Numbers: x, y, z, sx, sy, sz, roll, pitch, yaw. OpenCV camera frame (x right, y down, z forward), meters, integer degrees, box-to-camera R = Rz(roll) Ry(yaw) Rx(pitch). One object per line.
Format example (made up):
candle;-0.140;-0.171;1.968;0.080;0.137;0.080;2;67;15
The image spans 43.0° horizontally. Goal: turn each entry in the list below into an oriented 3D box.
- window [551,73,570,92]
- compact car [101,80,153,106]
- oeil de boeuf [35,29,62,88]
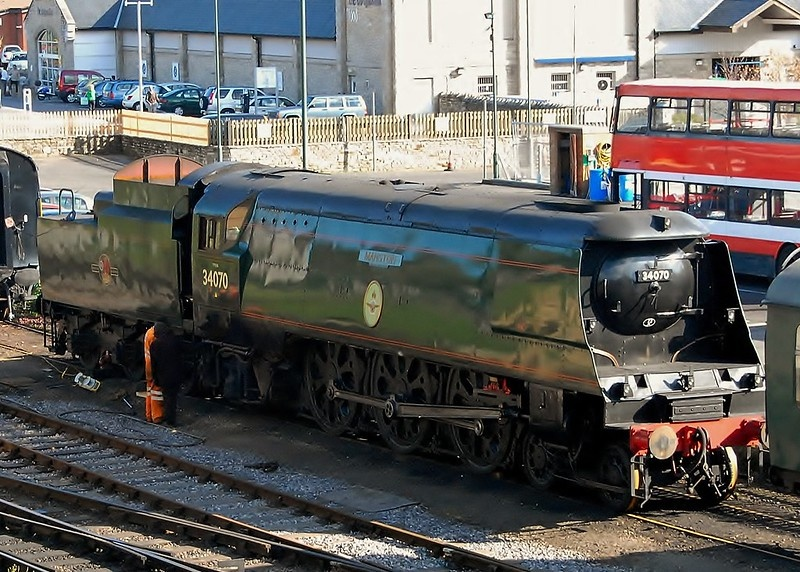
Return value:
window;9.222;-11.816;58.713;1.391;1.343;0.325;1;-2;-1
compact car;-17.353;-11.813;62.774;2.470;1.233;1.394;-8;16;-6
oeil de boeuf;-25.797;-16.867;74.718;0.265;5.086;4.298;-9;21;-31
